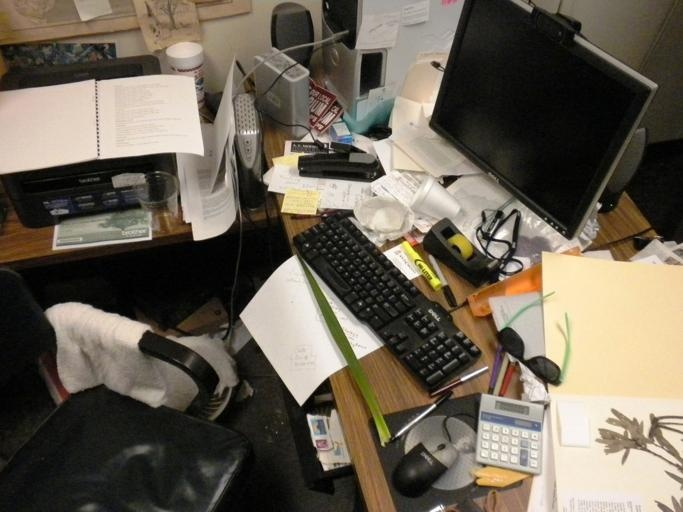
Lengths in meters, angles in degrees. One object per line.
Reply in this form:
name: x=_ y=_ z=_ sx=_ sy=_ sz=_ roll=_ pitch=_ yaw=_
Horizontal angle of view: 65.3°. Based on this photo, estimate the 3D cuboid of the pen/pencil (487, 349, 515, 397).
pen/pencil: x=0.362 y=0.267 z=1.224 sx=0.028 sy=0.023 sz=0.195 roll=14 pitch=40 yaw=15

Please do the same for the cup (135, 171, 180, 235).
cup: x=-0.523 y=-0.147 z=1.490 sx=0.087 sy=0.143 sz=0.101 roll=-2 pitch=49 yaw=-8

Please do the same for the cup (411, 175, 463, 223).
cup: x=0.262 y=-0.152 z=1.542 sx=0.129 sy=0.125 sz=0.122 roll=11 pitch=36 yaw=-8

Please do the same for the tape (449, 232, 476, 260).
tape: x=0.312 y=-0.024 z=1.392 sx=0.024 sy=0.047 sz=0.048 roll=-24 pitch=52 yaw=-24

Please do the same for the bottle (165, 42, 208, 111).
bottle: x=-0.498 y=-0.585 z=1.710 sx=0.104 sy=0.220 sz=0.133 roll=-8 pitch=42 yaw=-15

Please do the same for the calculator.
calculator: x=0.362 y=0.383 z=1.152 sx=0.135 sy=0.044 sz=0.138 roll=12 pitch=51 yaw=5

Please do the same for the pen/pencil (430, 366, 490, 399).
pen/pencil: x=0.274 y=0.289 z=1.231 sx=0.165 sy=0.017 sz=0.021 roll=-21 pitch=55 yaw=-20
